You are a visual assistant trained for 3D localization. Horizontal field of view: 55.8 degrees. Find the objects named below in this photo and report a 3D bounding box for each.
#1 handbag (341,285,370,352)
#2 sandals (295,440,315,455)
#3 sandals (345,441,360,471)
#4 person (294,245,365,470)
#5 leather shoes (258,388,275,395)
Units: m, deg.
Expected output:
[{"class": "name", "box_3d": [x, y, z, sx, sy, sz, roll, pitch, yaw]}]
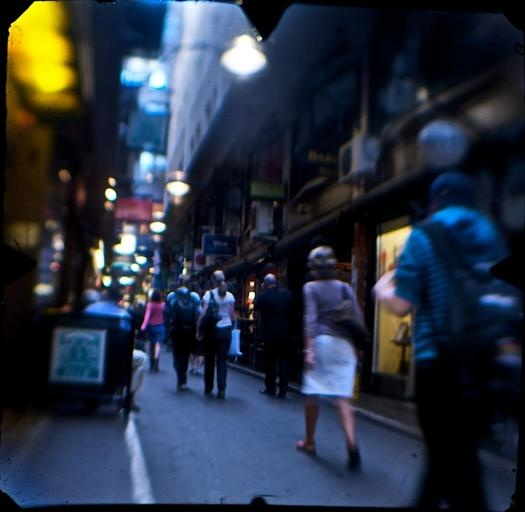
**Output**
[{"class": "handbag", "box_3d": [0.668, 0.477, 3.661, 0.105, 0.439, 0.296, -15, -30, 19]}, {"class": "sandals", "box_3d": [0.344, 1.513, 3.918, 0.062, 0.109, 0.141, -1, 9, -21]}, {"class": "sandals", "box_3d": [0.664, 1.447, 3.597, 0.103, 0.176, 0.223, 3, -9, 11]}, {"class": "person", "box_3d": [0.533, 0.724, 3.771, 0.485, 1.623, 0.445, 3, -7, 9]}, {"class": "leather shoes", "box_3d": [0.055, 1.785, 6.492, 0.127, 0.073, 0.354, 11, -10, -30]}]
